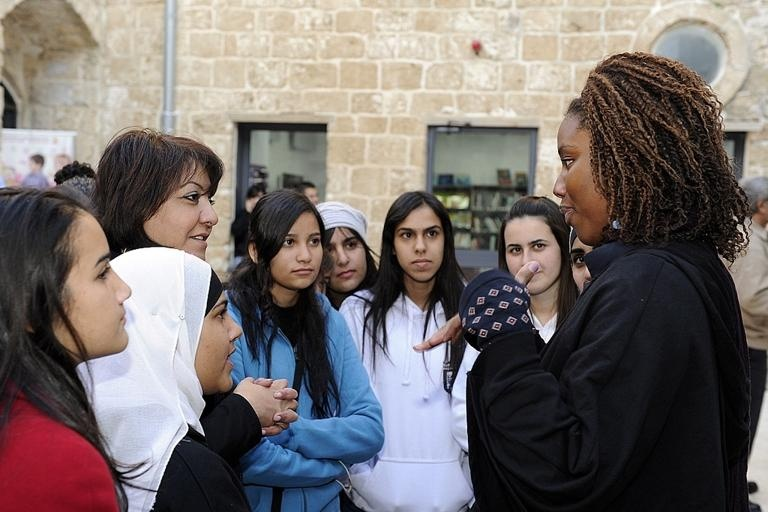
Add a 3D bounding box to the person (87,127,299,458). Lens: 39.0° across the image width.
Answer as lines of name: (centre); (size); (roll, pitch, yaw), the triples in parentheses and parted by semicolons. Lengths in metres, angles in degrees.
person: (-0.965, 0.199, 5.360); (0.850, 1.609, 1.741); (-13, 12, -16)
